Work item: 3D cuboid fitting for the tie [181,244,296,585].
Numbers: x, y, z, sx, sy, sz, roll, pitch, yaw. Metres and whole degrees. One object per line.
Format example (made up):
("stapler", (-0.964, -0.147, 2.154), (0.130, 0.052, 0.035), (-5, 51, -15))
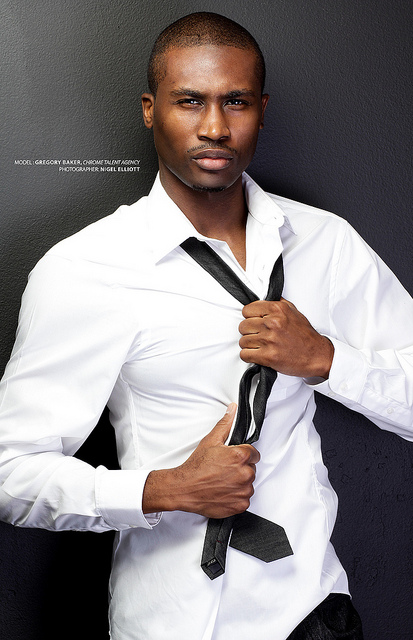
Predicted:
("tie", (0.067, 0.155, 1.109), (0.198, 0.016, 0.639), (1, 82, -5))
